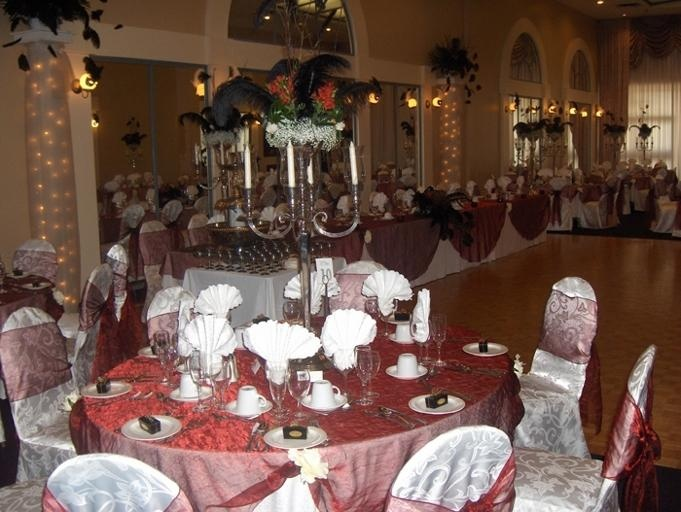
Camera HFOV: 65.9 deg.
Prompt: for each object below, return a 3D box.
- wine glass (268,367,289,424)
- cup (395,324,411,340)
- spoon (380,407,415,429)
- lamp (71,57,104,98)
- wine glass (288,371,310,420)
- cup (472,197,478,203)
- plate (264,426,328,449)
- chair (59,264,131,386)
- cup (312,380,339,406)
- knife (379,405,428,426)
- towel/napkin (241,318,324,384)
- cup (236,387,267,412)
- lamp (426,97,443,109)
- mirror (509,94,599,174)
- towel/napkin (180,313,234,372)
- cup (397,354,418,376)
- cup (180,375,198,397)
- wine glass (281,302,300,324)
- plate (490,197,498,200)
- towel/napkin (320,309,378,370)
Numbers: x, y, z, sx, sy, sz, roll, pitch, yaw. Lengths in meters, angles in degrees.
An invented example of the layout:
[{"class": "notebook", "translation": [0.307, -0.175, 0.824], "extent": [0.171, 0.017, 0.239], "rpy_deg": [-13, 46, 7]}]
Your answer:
[{"class": "wine glass", "translation": [-0.241, 0.501, 2.040], "extent": [0.079, 0.229, 0.229], "rpy_deg": [-2, 12, -7]}, {"class": "cup", "translation": [0.330, 0.403, 2.763], "extent": [0.068, 0.080, 0.075], "rpy_deg": [1, 5, -1]}, {"class": "spoon", "translation": [0.212, 0.601, 1.996], "extent": [0.043, 0.035, 0.191], "rpy_deg": [28, 0, -30]}, {"class": "lamp", "translation": [-3.011, -2.110, 6.195], "extent": [0.363, 0.617, 0.237], "rpy_deg": [24, 30, 25]}, {"class": "wine glass", "translation": [-0.163, 0.509, 2.031], "extent": [0.074, 0.203, 0.207], "rpy_deg": [-2, 12, -6]}, {"class": "cup", "translation": [2.333, -0.980, 9.039], "extent": [0.126, 0.107, 0.137], "rpy_deg": [-1, 9, 0]}, {"class": "plate", "translation": [-0.157, 0.632, 1.831], "extent": [0.228, 0.031, 0.146], "rpy_deg": [-1, 12, 0]}, {"class": "chair", "translation": [-1.742, 0.488, 3.718], "extent": [0.345, 0.675, 0.407], "rpy_deg": [10, 31, 16]}, {"class": "cup", "translation": [-0.060, 0.548, 2.112], "extent": [0.094, 0.095, 0.075], "rpy_deg": [4, -6, -35]}, {"class": "knife", "translation": [0.241, 0.603, 1.980], "extent": [0.189, 0.031, 0.059], "rpy_deg": [16, 7, 40]}, {"class": "towel/napkin", "translation": [-0.238, 0.330, 2.023], "extent": [0.210, 0.160, 0.224], "rpy_deg": [3, 27, 7]}, {"class": "cup", "translation": [-0.358, 0.543, 2.064], "extent": [0.110, 0.093, 0.077], "rpy_deg": [7, 4, 29]}, {"class": "lamp", "translation": [2.141, -3.503, 11.916], "extent": [0.161, 0.276, 0.753], "rpy_deg": [7, 14, 33]}, {"class": "mirror", "translation": [6.578, -3.824, 16.312], "extent": [3.234, 2.541, 0.981], "rpy_deg": [-7, 12, -42]}, {"class": "towel/napkin", "translation": [-0.552, 0.335, 2.102], "extent": [0.174, 0.213, 0.188], "rpy_deg": [3, 14, 15]}, {"class": "cup", "translation": [0.300, 0.490, 2.340], "extent": [0.078, 0.092, 0.086], "rpy_deg": [0, 3, -1]}, {"class": "cup", "translation": [-0.636, 0.549, 2.241], "extent": [0.081, 0.096, 0.090], "rpy_deg": [0, -1, 1]}, {"class": "wine glass", "translation": [-0.242, 0.266, 2.599], "extent": [0.084, 0.113, 0.091], "rpy_deg": [-3, 10, -18]}, {"class": "plate", "translation": [2.859, -1.072, 9.755], "extent": [0.105, 0.077, 0.116], "rpy_deg": [0, -1, 6]}, {"class": "towel/napkin", "translation": [0.032, 0.371, 2.162], "extent": [0.193, 0.259, 0.102], "rpy_deg": [3, -16, 2]}]
